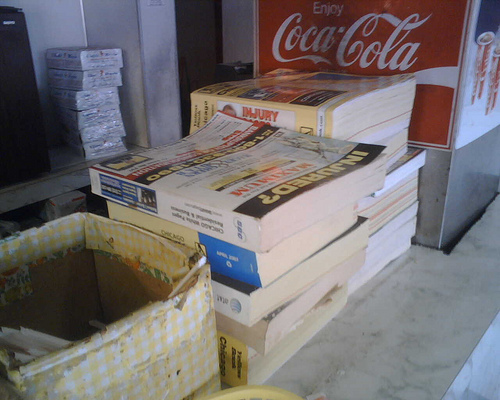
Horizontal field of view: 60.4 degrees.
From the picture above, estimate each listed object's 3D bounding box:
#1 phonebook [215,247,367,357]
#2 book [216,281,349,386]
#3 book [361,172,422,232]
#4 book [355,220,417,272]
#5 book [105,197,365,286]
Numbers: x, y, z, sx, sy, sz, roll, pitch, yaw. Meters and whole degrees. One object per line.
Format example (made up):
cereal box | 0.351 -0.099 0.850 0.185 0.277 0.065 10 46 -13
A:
phonebook | 0.089 0.250 0.966 0.250 0.059 0.249 -28 17 -31
book | 0.068 0.347 1.069 0.227 0.063 0.235 -37 29 -23
book | 0.480 0.010 1.506 0.225 0.056 0.225 -37 35 -15
book | 0.473 0.135 1.507 0.167 0.045 0.177 -18 -13 -42
book | -0.066 0.084 0.935 0.291 0.043 0.288 23 35 35
